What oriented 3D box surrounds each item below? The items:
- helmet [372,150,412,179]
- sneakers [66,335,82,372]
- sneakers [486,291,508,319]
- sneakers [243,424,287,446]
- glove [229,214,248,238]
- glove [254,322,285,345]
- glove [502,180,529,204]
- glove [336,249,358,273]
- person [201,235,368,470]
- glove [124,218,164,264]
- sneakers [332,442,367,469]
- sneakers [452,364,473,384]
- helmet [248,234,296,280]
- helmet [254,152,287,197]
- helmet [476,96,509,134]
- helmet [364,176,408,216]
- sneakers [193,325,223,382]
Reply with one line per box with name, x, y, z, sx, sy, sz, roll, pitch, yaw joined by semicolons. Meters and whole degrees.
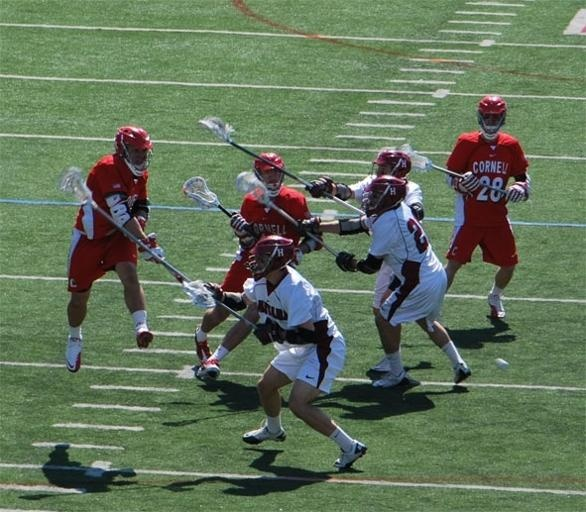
helmet;0.909;-0.852;11.563;0.314;0.251;0.353;10;14;21
sneakers;-1.957;0.875;11.300;0.140;0.313;0.154;-3;-13;-9
sneakers;2.016;0.505;12.585;0.141;0.292;0.162;-7;-17;-1
sneakers;-0.237;1.512;10.528;0.453;0.186;0.127;-2;55;5
glove;-0.498;-0.275;11.345;0.146;0.216;0.249;-2;15;-26
glove;-0.180;0.632;10.343;0.174;0.119;0.215;31;-5;15
glove;2.236;-0.654;12.599;0.207;0.182;0.334;8;13;16
glove;0.486;0.042;11.344;0.216;0.090;0.146;36;52;7
person;0.101;0.786;10.290;1.077;1.846;0.480;11;16;21
glove;-1.282;-0.149;11.324;0.139;0.528;0.150;-38;21;39
sneakers;0.486;1.611;10.351;0.267;0.249;0.226;4;14;-4
sneakers;1.496;1.055;11.285;0.105;0.108;0.245;-15;-11;-10
helmet;-0.161;0.006;10.265;0.420;0.284;0.290;-5;-1;-13
helmet;-0.121;-0.786;11.638;0.359;0.346;0.404;-6;7;-14
helmet;1.997;-1.438;12.614;0.359;0.372;0.384;2;40;10
helmet;0.814;-0.523;11.034;0.434;0.289;0.304;-5;7;-5
sneakers;-0.806;0.900;11.543;0.215;0.223;0.597;-6;19;-15
